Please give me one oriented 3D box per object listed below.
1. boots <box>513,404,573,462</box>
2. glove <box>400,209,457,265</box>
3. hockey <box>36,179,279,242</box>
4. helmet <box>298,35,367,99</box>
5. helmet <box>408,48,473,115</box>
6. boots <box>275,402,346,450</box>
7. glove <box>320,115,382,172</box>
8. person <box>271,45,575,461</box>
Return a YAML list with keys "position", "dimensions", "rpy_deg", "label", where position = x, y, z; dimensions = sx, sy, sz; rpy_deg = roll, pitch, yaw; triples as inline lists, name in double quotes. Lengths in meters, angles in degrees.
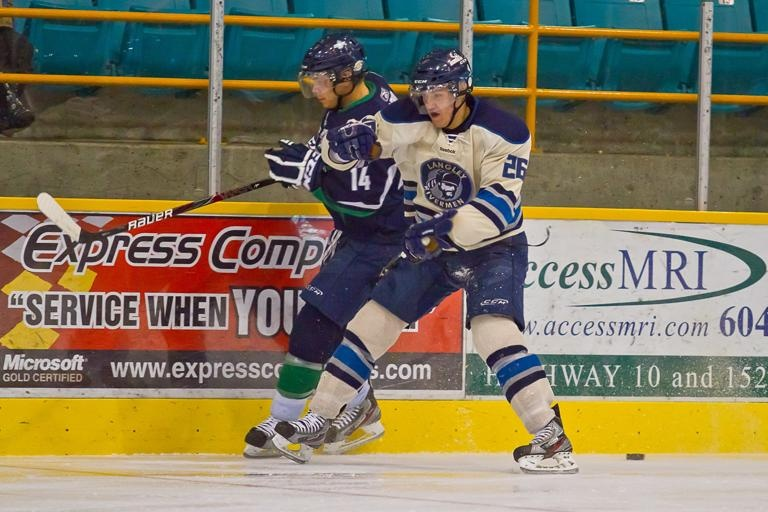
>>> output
- position: [0.821, 0.959, 6.335]
  dimensions: [0.388, 0.256, 0.126]
  rpy_deg: [-2, 1, -31]
  label: "boots"
- position: [0.223, -0.087, 6.186]
  dimensions: [0.349, 0.211, 0.143]
  rpy_deg: [-26, -31, 4]
  label: "glove"
- position: [-1.267, -0.348, 6.857]
  dimensions: [0.233, 0.220, 1.745]
  rpy_deg: [-15, 3, 41]
  label: "hockey"
- position: [-0.335, -1.047, 6.603]
  dimensions: [0.442, 0.321, 0.321]
  rpy_deg: [-22, 31, -29]
  label: "helmet"
- position: [0.296, -0.934, 6.288]
  dimensions: [0.356, 0.272, 0.283]
  rpy_deg: [-29, 31, -34]
  label: "helmet"
- position: [-0.397, 0.962, 6.558]
  dimensions: [0.194, 0.217, 0.567]
  rpy_deg: [5, -8, 34]
  label: "boots"
- position: [-0.166, -0.579, 6.293]
  dimensions: [0.273, 0.139, 0.312]
  rpy_deg: [-19, 24, 20]
  label: "glove"
- position: [0.325, 0.027, 6.298]
  dimensions: [1.481, 2.232, 0.362]
  rpy_deg: [2, 0, 7]
  label: "person"
